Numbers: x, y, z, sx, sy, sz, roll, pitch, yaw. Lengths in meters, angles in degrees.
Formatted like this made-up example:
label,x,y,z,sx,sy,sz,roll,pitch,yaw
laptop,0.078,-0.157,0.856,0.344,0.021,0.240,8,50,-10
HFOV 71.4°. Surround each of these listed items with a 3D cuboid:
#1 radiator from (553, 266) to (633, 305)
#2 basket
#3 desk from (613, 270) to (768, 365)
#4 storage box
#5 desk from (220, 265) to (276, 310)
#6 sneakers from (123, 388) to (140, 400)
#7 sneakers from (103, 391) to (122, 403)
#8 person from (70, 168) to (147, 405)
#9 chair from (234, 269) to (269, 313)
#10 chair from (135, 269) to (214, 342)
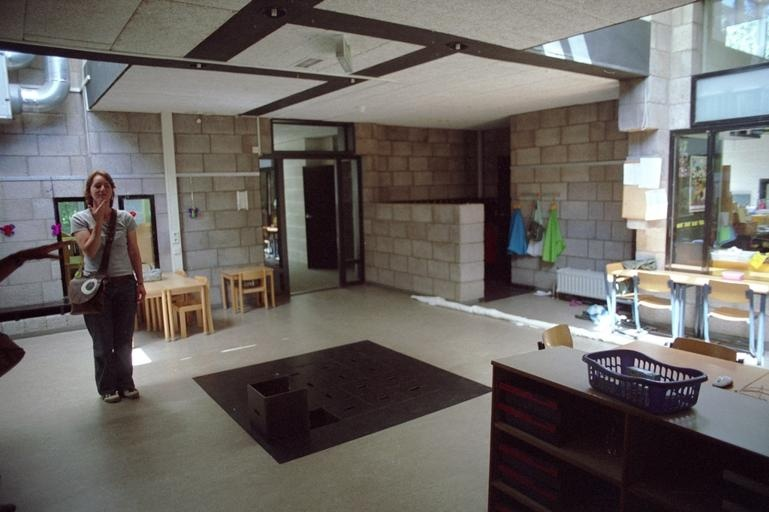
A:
label,x,y,z,sx,sy,sz,roll,pitch,yaw
radiator,3.209,0.475,8.523,0.316,0.458,1.043,-3,6,-29
basket,1.617,0.779,3.433,0.635,0.276,0.557,-6,9,-16
desk,3.554,0.682,6.127,0.430,0.499,1.087,-4,5,-32
storage box,-0.998,1.381,5.115,0.595,0.526,0.572,-6,11,-27
desk,-2.230,0.479,8.725,0.867,0.675,0.745,-6,15,-28
sneakers,-2.649,1.449,5.613,0.203,0.079,0.075,1,1,40
sneakers,-2.821,1.477,5.597,0.084,0.088,0.220,1,-4,5
person,-2.774,0.331,5.476,0.623,2.366,0.499,-12,13,-39
chair,-2.164,0.528,8.738,0.504,0.654,0.838,-6,9,-13
chair,-2.904,0.644,7.392,0.880,0.574,1.276,-3,11,-28
